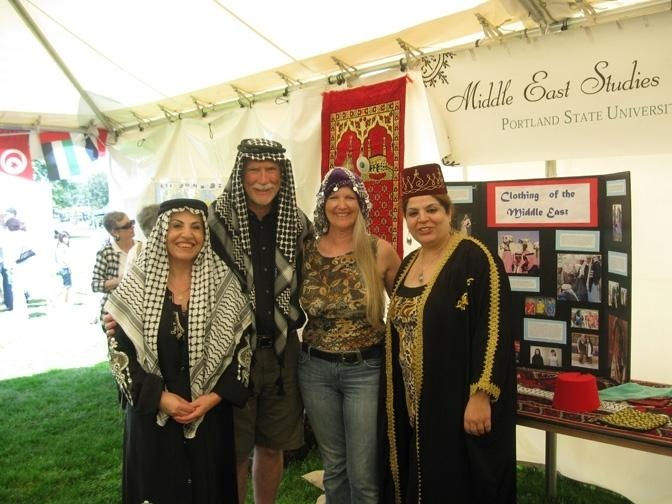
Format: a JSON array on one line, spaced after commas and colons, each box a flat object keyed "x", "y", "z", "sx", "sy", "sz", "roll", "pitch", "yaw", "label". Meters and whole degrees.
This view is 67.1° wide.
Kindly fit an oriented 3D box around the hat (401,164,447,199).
[{"x": 0.563, "y": -0.473, "z": 3.382, "sx": 0.291, "sy": 0.211, "sz": 0.304, "roll": -3, "pitch": 7, "yaw": 44, "label": "hat"}]

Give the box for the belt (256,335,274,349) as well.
[{"x": -0.489, "y": 0.615, "z": 3.474, "sx": 0.111, "sy": 0.090, "sz": 0.017, "roll": -4, "pitch": 6, "yaw": -6, "label": "belt"}]

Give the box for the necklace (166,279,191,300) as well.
[{"x": -1.012, "y": 0.255, "z": 3.278, "sx": 0.141, "sy": 0.062, "sz": 0.105, "roll": 2, "pitch": 45, "yaw": -19, "label": "necklace"}]
